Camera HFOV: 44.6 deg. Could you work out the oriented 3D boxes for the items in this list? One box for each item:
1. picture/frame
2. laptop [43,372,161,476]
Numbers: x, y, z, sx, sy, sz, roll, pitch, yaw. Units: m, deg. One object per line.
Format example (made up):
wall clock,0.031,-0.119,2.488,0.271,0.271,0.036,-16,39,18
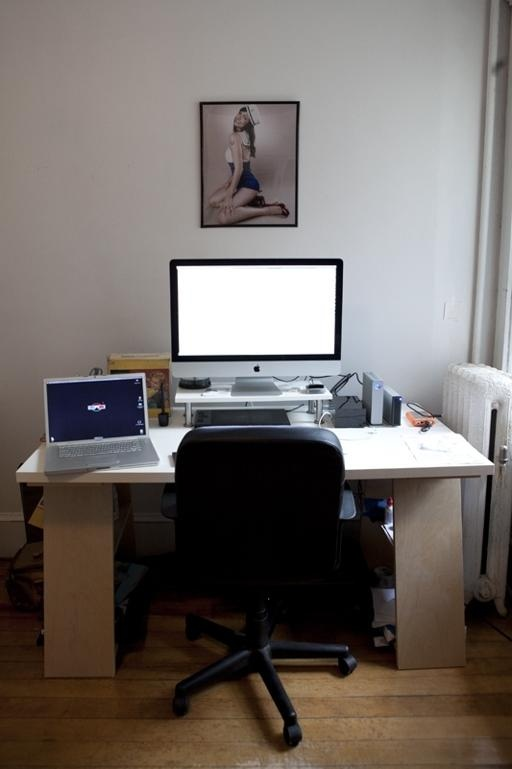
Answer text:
picture/frame,-0.029,-0.849,2.322,0.351,0.479,0.016,-1,9,-2
laptop,-0.479,0.113,1.865,0.312,0.313,0.233,-2,15,-15
